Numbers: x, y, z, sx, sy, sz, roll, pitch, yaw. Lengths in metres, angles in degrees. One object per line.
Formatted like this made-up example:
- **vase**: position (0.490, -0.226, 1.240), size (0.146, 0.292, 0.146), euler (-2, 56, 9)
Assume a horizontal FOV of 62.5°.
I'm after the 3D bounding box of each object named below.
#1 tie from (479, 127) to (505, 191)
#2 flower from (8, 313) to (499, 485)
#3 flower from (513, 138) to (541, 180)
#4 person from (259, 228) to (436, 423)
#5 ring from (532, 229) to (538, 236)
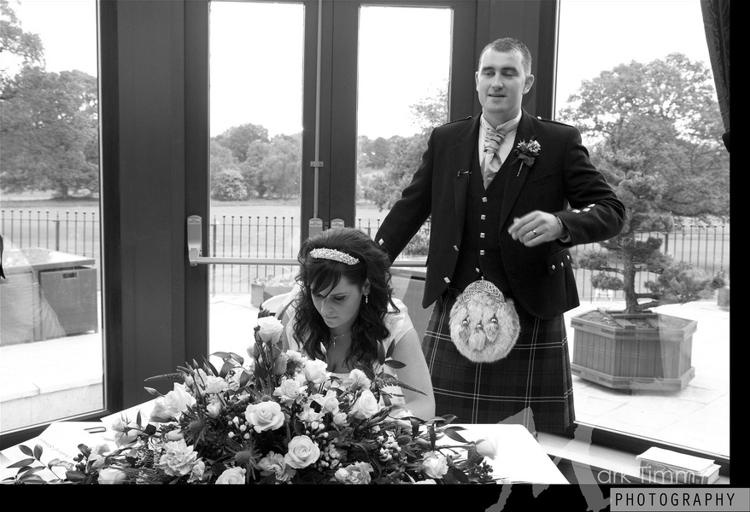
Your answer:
- **tie**: position (0.474, -0.397, 2.480), size (0.097, 0.245, 0.056), euler (1, 8, 11)
- **flower**: position (-0.224, 0.364, 1.489), size (1.013, 0.423, 0.291), euler (-2, 8, -15)
- **flower**: position (0.611, -0.391, 2.441), size (0.102, 0.144, 0.050), euler (1, 7, 8)
- **person**: position (-0.133, 0.342, 2.279), size (0.682, 0.832, 0.500), euler (-4, 13, 13)
- **ring**: position (0.559, -0.082, 2.155), size (0.025, 0.017, 0.024), euler (1, 3, 0)
